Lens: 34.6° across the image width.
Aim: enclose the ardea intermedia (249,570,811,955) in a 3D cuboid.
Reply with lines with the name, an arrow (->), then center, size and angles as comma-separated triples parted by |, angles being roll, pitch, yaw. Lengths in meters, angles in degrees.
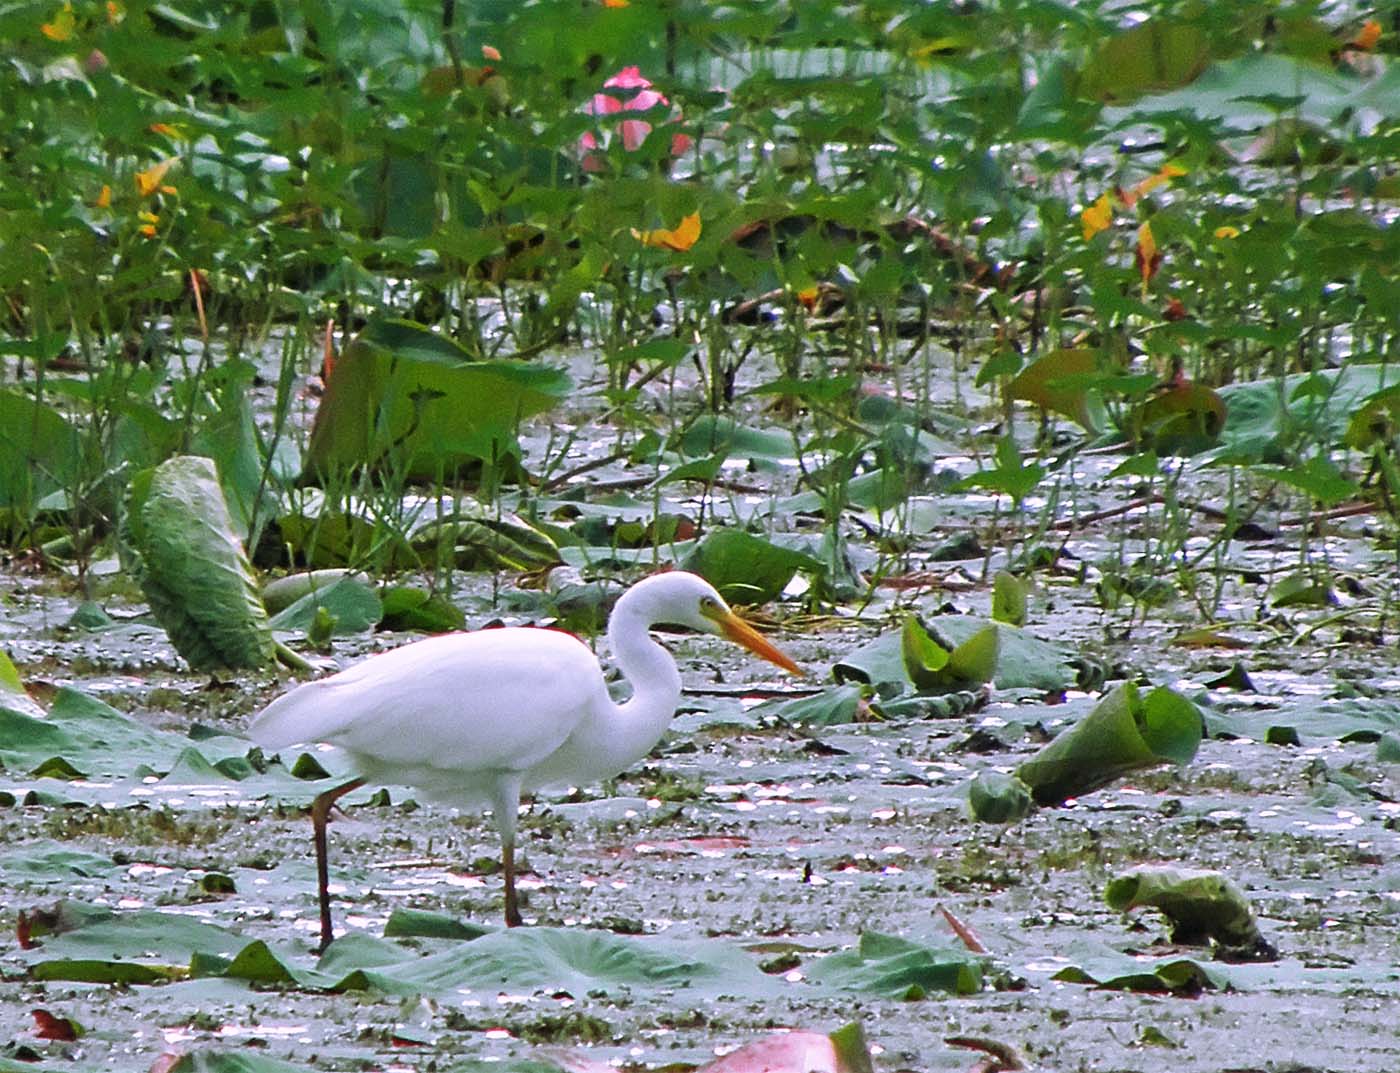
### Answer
ardea intermedia -> -0.293, 0.343, 4.045 | 0.437, 0.500, 1.010 | 9, 8, 30
